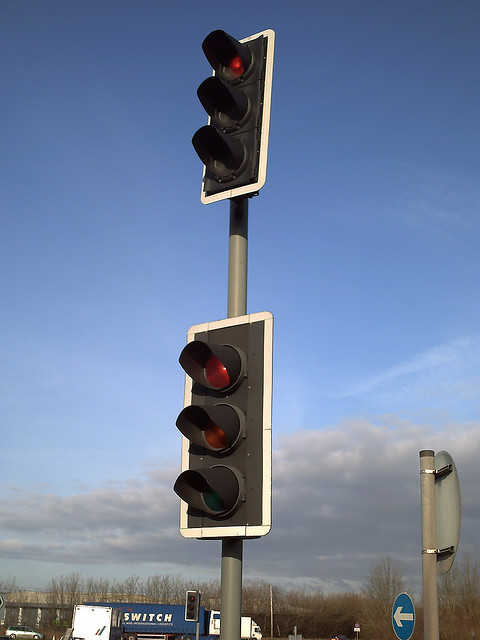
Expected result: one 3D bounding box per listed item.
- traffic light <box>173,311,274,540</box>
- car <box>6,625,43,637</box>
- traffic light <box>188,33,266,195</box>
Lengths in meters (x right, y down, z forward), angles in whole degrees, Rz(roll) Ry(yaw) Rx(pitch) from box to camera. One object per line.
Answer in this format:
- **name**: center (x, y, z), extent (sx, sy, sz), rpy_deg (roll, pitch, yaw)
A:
- **traffic light**: center (-0.109, 0.723, 5.741), extent (0.719, 1.675, 0.621), rpy_deg (-3, -18, 9)
- **car**: center (-16.841, 24.136, 62.591), extent (2.573, 1.243, 1.231), rpy_deg (-3, -22, 8)
- **traffic light**: center (-0.187, -1.721, 6.504), extent (0.519, 1.330, 0.702), rpy_deg (16, -24, -41)
